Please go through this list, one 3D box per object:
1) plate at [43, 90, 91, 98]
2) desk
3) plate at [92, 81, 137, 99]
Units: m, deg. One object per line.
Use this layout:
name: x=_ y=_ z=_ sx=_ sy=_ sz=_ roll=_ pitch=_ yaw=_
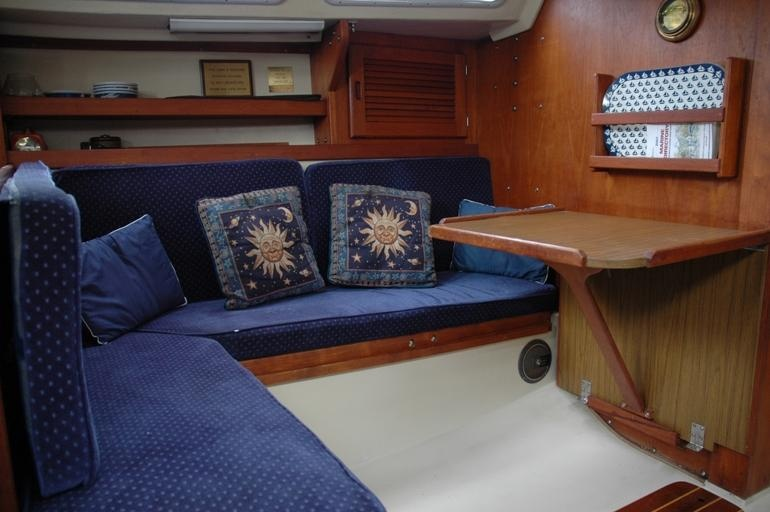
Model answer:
plate: x=-1.683 y=-0.843 z=2.789 sx=0.208 sy=0.049 sz=0.114 roll=-13 pitch=14 yaw=-28
desk: x=0.874 y=-0.044 z=2.336 sx=0.956 sy=0.950 sz=1.195 roll=-9 pitch=13 yaw=-28
plate: x=-1.462 y=-0.889 z=2.856 sx=0.212 sy=0.081 sz=0.081 roll=-12 pitch=14 yaw=-22
